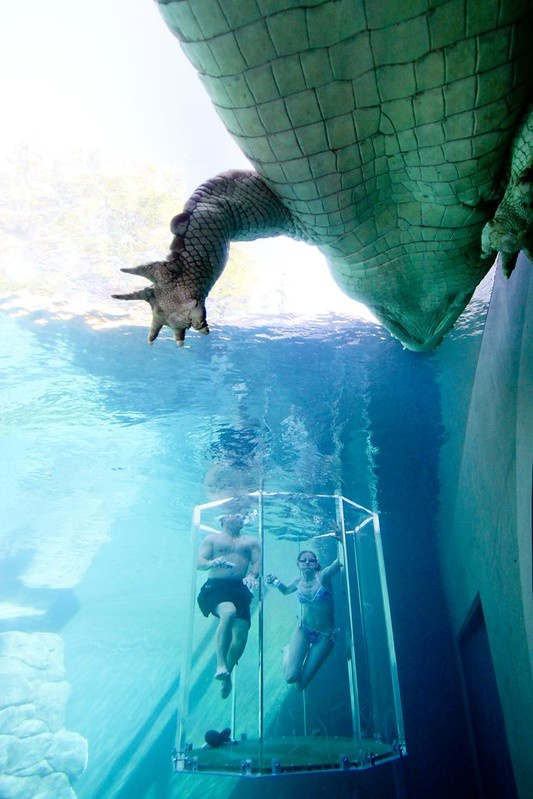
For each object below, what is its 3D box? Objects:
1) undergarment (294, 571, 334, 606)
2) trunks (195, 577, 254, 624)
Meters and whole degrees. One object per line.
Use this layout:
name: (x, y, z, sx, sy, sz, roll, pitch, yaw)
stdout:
undergarment: (0.632, 2.460, 7.157, 0.448, 0.330, 0.230, -13, -39, 8)
trunks: (-0.493, 2.387, 6.871, 0.708, 0.641, 0.433, 7, -48, -9)
